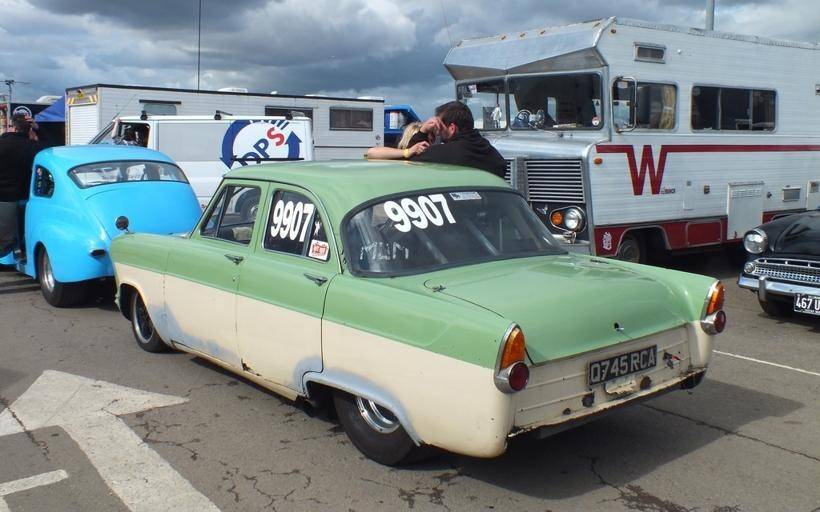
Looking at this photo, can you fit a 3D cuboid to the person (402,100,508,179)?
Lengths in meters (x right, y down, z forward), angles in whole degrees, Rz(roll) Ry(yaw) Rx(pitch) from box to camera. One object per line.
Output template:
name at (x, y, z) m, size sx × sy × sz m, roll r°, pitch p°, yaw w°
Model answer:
person at (0.439, -1.240, 6.510) m, size 1.536 × 0.985 × 1.071 m, roll -2°, pitch 9°, yaw -2°

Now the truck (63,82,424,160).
truck at (-6.405, -4.463, 22.419) m, size 10.884 × 4.197 × 3.655 m, roll -6°, pitch 25°, yaw -23°

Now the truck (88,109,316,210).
truck at (-4.840, -1.849, 13.108) m, size 5.002 × 2.750 × 2.882 m, roll -3°, pitch 10°, yaw -10°

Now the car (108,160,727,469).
car at (0.067, 0.318, 5.119) m, size 4.996 × 2.136 × 2.031 m, roll 7°, pitch 15°, yaw 27°
